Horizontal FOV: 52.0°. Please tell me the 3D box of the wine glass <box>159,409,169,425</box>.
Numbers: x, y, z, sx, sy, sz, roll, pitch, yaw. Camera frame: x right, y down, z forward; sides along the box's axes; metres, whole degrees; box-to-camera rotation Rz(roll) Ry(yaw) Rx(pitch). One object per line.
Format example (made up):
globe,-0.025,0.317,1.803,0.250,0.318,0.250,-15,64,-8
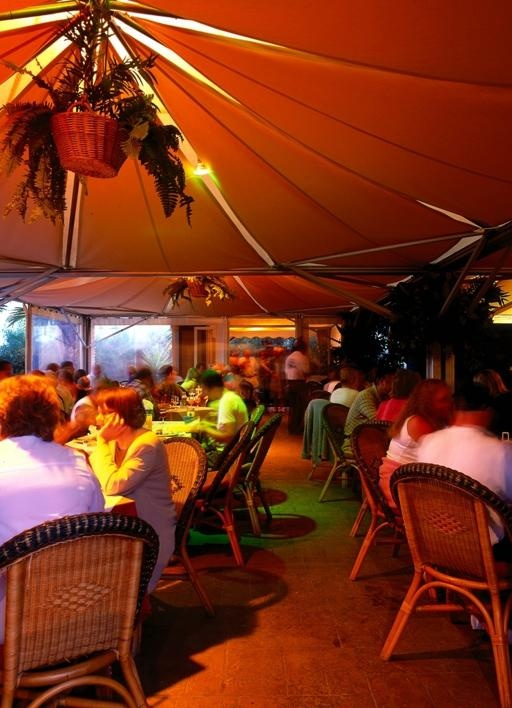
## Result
wine glass,-1.036,0.706,5.831,0.117,0.170,0.119,-1,-12,3
